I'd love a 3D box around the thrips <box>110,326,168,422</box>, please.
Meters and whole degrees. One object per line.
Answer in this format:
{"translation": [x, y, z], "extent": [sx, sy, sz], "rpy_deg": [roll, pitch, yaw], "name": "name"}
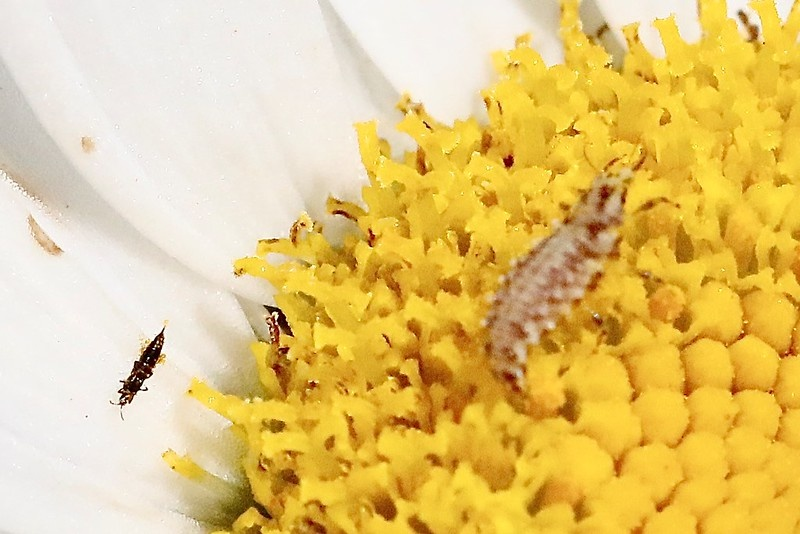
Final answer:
{"translation": [-0.362, 0.153, 1.295], "extent": [0.033, 0.042, 0.132], "rpy_deg": [-21, 35, 56], "name": "thrips"}
